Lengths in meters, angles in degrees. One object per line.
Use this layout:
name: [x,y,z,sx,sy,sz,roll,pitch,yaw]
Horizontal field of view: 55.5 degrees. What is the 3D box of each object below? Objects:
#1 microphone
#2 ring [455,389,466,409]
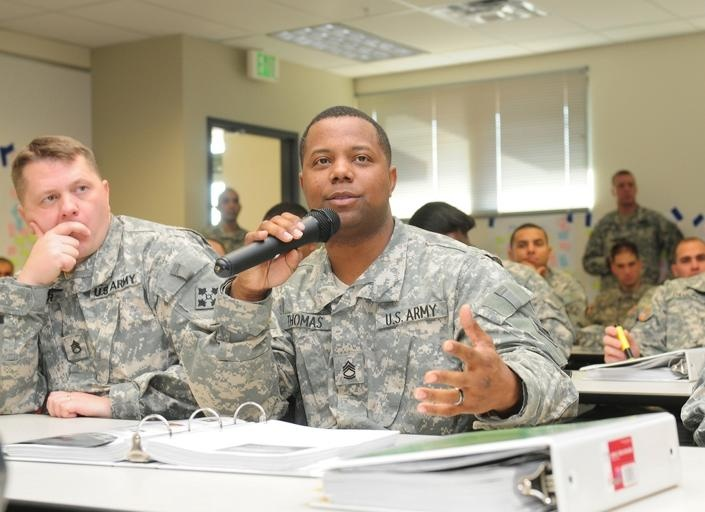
microphone: [-0.148,-0.036,1.547,0.111,0.109,0.409,-11,10,46]
ring: [0.194,0.255,1.186,0.011,0.031,0.023,7,-14,-13]
